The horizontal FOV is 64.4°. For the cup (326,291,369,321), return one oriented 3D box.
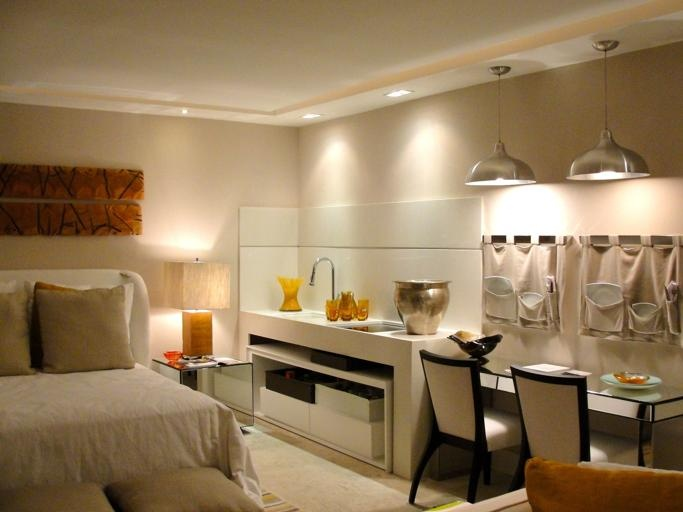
[{"bbox_3d":[0.043,0.423,4.799,0.274,0.193,0.280,-1,-3,0],"label":"cup"}]

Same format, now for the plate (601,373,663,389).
[{"bbox_3d":[1.612,0.714,3.073,0.147,0.026,0.149,-1,0,-29],"label":"plate"}]

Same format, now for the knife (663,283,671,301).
[{"bbox_3d":[1.897,0.203,3.165,0.010,0.102,0.050,0,1,-9],"label":"knife"}]

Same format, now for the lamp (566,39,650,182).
[{"bbox_3d":[1.528,-0.856,3.143,0.411,0.760,0.418,-6,5,-35],"label":"lamp"}]

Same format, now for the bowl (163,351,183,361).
[{"bbox_3d":[-1.522,0.896,4.957,0.112,0.049,0.113,1,-3,0],"label":"bowl"}]

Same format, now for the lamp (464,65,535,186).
[{"bbox_3d":[1.101,-0.904,3.744,0.444,0.832,0.643,1,1,16],"label":"lamp"}]

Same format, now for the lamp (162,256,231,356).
[{"bbox_3d":[-1.354,0.482,5.093,0.516,0.860,0.484,0,1,-30],"label":"lamp"}]

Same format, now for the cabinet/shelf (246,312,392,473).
[{"bbox_3d":[-0.179,1.074,4.691,0.359,1.015,1.791,0,1,-41],"label":"cabinet/shelf"}]

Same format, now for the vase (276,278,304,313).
[{"bbox_3d":[-0.530,0.382,5.623,0.260,0.345,0.352,0,1,-4],"label":"vase"}]
